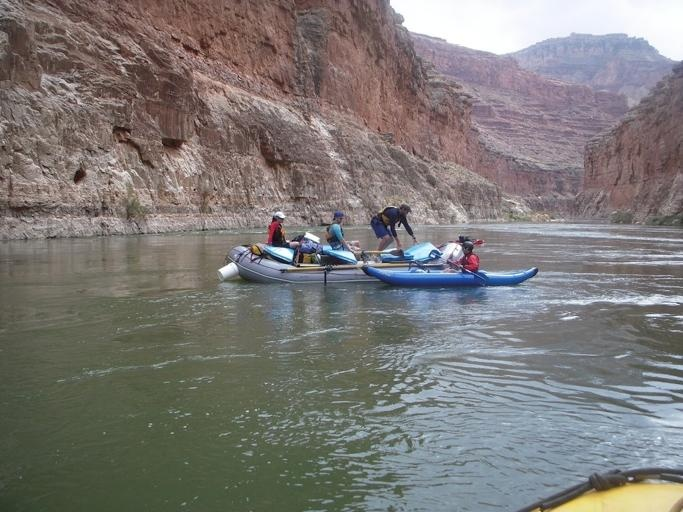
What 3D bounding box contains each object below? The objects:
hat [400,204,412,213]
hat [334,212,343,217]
[{"bbox_3d":[1.747,-1.250,14.824,0.335,0.246,0.208,8,52,15],"label":"hat"},{"bbox_3d":[-0.065,-1.010,13.717,0.263,0.084,0.294,1,7,-2],"label":"hat"}]
